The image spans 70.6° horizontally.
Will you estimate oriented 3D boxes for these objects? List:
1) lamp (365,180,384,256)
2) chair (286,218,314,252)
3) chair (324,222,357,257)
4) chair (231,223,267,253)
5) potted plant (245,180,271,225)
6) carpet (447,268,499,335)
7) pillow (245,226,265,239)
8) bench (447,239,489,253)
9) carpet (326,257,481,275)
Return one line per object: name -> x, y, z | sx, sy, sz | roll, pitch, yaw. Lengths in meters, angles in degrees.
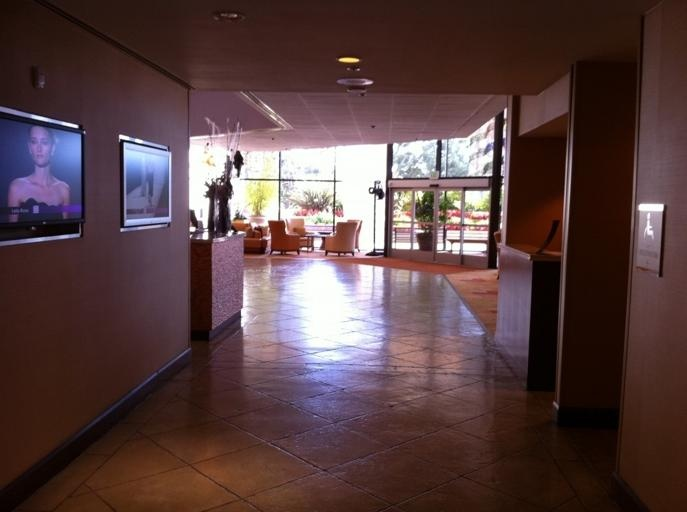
lamp -> 1.197, -1.389, 17.472 | 0.610, 2.602, 1.799 | 2, 7, 3
chair -> -1.410, -0.858, 18.079 | 0.940, 1.332, 1.156 | -1, 2, -23
chair -> -0.001, -0.586, 16.923 | 1.109, 1.208, 0.985 | 5, 6, 45
chair -> -3.003, -0.561, 16.104 | 1.391, 1.347, 1.352 | -1, 1, -19
potted plant -> -3.404, -2.215, 19.674 | 1.333, 1.957, 1.269 | 0, -1, -11
carpet -> 2.752, 0.778, 10.341 | 1.162, 0.155, 6.321 | 4, 8, 15
pillow -> -2.973, -0.788, 16.519 | 0.439, 0.308, 0.426 | 2, 10, 3
bench -> 3.720, -0.288, 14.569 | 0.121, 0.453, 1.433 | -5, 10, -40
carpet -> 1.901, 0.281, 14.701 | 4.697, 0.097, 2.241 | 6, 9, 30
